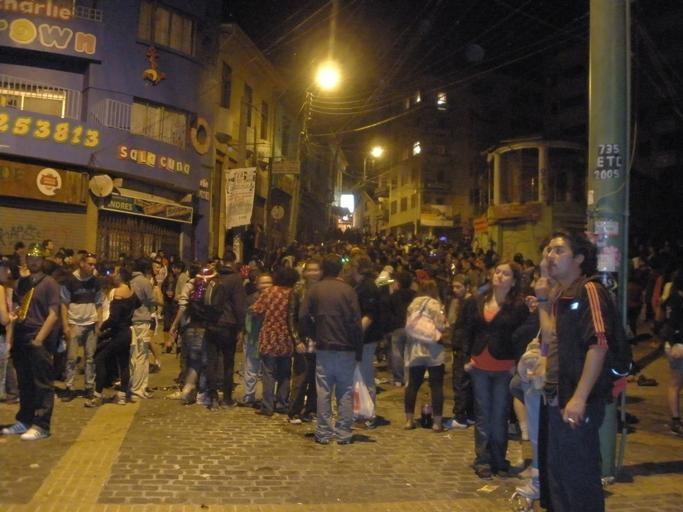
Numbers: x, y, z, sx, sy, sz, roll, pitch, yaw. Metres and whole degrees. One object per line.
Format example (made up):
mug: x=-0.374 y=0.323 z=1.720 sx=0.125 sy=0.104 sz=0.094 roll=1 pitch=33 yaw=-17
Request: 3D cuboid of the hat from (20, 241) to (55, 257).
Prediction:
hat: x=-6.599 y=-0.161 z=16.637 sx=0.483 sy=0.158 sz=0.477 roll=-3 pitch=7 yaw=-35

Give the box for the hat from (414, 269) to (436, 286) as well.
hat: x=1.629 y=0.420 z=15.065 sx=0.333 sy=0.440 sz=0.240 roll=-2 pitch=-12 yaw=18
